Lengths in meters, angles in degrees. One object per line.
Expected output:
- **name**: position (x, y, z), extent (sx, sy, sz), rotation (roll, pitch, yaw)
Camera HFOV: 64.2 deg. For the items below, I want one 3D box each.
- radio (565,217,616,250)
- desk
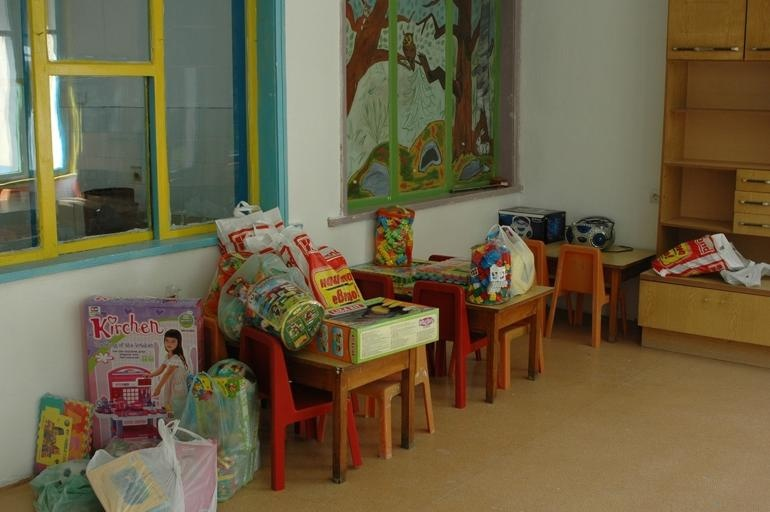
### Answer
- **radio**: position (1.829, -0.193, 5.507), extent (0.417, 0.329, 0.368), rotation (7, 3, 31)
- **desk**: position (1.881, 0.233, 5.380), extent (0.823, 0.821, 0.855), rotation (5, 8, 33)
